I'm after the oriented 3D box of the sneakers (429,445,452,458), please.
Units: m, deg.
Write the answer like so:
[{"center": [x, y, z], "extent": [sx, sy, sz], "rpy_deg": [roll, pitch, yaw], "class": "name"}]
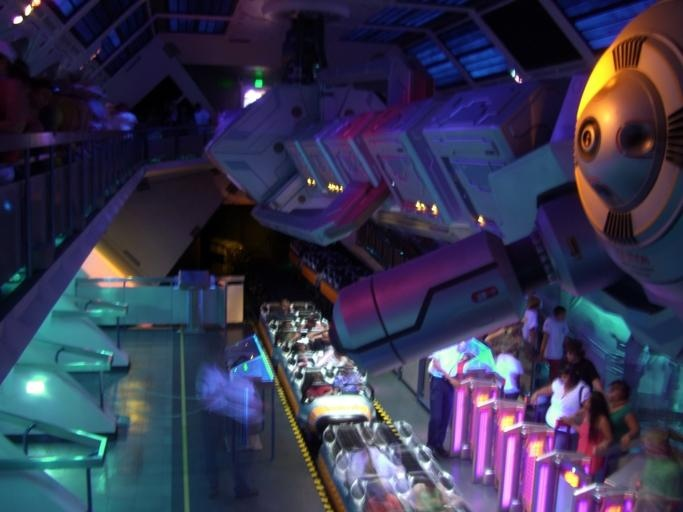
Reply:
[{"center": [1.261, 2.557, 6.626], "extent": [0.318, 0.138, 0.122], "rpy_deg": [9, 17, 19], "class": "sneakers"}]
